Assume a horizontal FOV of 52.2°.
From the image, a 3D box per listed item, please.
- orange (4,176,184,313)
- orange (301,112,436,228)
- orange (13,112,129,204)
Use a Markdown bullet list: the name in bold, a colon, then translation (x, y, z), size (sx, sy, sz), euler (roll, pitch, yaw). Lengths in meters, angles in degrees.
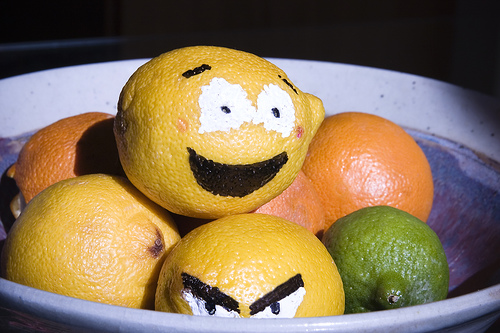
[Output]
- **orange**: translation (-0.234, 0.109, 0.833), size (0.222, 0.188, 0.183), euler (12, 0, -2)
- **orange**: translation (0.187, -0.013, 0.951), size (0.193, 0.245, 0.197), euler (-6, 2, -34)
- **orange**: translation (-0.317, 0.010, 0.940), size (0.178, 0.141, 0.138), euler (-21, 36, -16)
